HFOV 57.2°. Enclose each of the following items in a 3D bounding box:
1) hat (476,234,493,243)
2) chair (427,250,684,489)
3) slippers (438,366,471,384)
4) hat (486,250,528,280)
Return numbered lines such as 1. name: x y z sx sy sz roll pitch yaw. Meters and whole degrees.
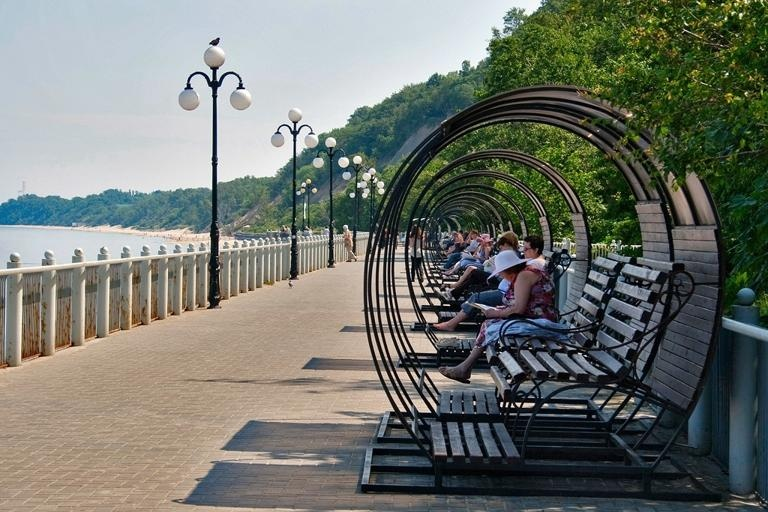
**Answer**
1. hat: 2.576 -0.448 17.820 0.343 0.235 0.447 -1 -2 0
2. chair: 1.676 0.939 7.529 2.412 1.934 3.167 -2 2 3
3. slippers: 0.794 1.338 7.932 0.341 0.111 0.184 21 -5 -2
4. hat: 1.518 0.133 8.794 0.351 0.162 0.350 -23 -5 -5
